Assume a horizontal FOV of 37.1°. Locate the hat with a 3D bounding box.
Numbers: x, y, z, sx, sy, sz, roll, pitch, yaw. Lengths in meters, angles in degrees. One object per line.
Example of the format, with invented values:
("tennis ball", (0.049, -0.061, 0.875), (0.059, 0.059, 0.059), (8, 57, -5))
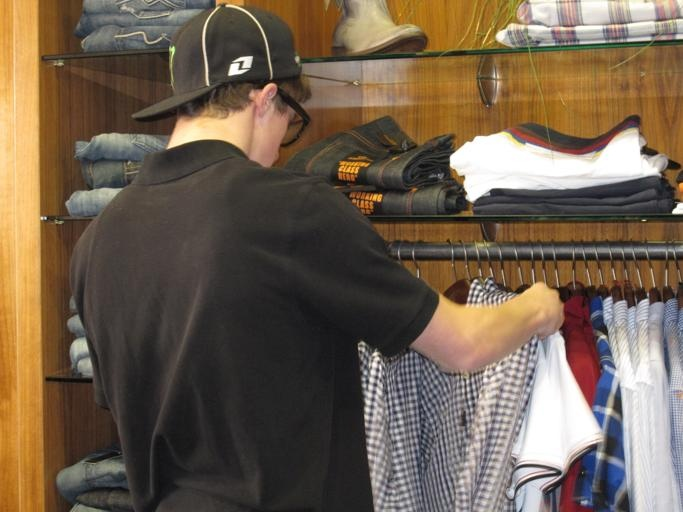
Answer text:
("hat", (-0.287, -0.442, 2.339), (0.324, 0.188, 0.212), (-14, 14, -30))
